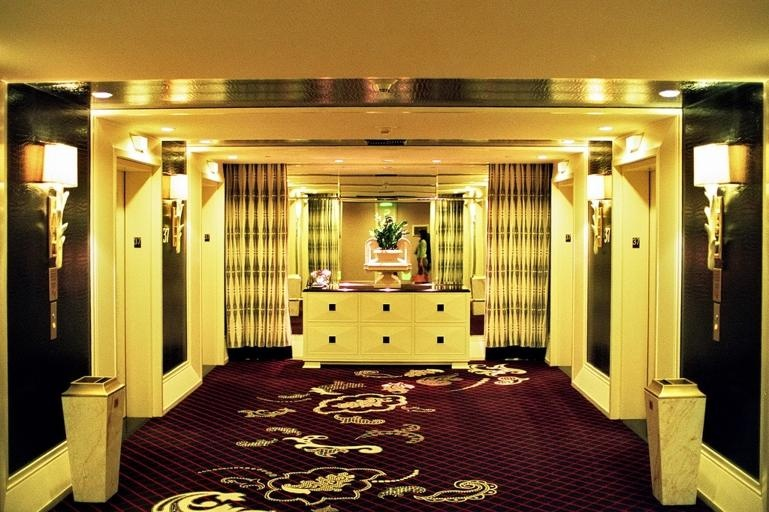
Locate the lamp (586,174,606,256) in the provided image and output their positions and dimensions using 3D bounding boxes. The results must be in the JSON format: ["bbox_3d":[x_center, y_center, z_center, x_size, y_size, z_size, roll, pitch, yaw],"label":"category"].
[{"bbox_3d":[2.865,-0.595,7.818,0.191,1.035,0.427,0,5,0],"label":"lamp"}]

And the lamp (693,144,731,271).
[{"bbox_3d":[3.122,-0.457,5.480,0.290,1.212,0.388,4,6,38],"label":"lamp"}]

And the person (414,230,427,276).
[{"bbox_3d":[0.693,-0.075,10.580,0.248,0.850,0.208,0,5,-9],"label":"person"}]

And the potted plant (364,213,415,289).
[{"bbox_3d":[0.064,-0.114,10.324,0.849,1.252,0.896,1,5,4],"label":"potted plant"}]

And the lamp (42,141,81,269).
[{"bbox_3d":[-3.157,-0.475,5.604,0.271,1.215,0.485,-3,6,-30],"label":"lamp"}]

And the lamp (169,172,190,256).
[{"bbox_3d":[-2.837,-0.567,7.941,0.207,1.149,0.590,0,5,-5],"label":"lamp"}]

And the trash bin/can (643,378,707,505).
[{"bbox_3d":[2.764,1.768,5.470,0.472,1.175,0.268,0,5,-1],"label":"trash bin/can"}]
